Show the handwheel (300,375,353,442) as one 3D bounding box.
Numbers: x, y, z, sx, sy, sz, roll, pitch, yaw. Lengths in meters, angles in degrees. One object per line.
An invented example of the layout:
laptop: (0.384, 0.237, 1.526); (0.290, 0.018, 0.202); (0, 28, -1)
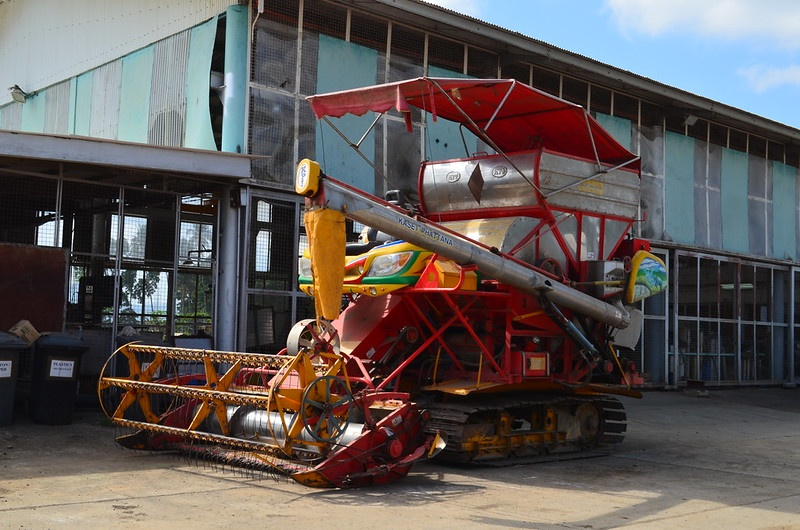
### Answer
handwheel: (-1.278, 2.398, 16.620); (0.986, 1.141, 0.304); (1, -1, -41)
